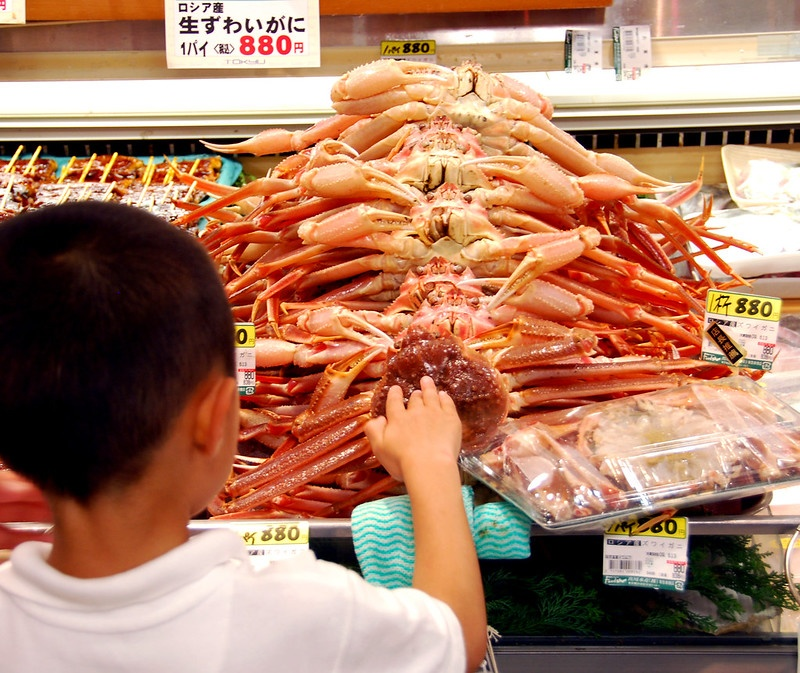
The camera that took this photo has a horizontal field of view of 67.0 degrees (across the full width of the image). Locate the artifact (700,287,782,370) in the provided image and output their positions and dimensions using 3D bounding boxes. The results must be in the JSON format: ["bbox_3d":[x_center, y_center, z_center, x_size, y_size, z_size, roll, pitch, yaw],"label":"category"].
[{"bbox_3d":[0.765,-0.006,1.365,0.151,0.196,0.094,1,17,17],"label":"artifact"}]

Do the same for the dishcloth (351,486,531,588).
[{"bbox_3d":[0.069,0.316,0.988,0.270,0.064,0.183,-2,11,-5],"label":"dishcloth"}]

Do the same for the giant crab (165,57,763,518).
[{"bbox_3d":[0.091,-0.208,1.534,1.674,1.119,0.417,-3,-4,-8],"label":"giant crab"}]
